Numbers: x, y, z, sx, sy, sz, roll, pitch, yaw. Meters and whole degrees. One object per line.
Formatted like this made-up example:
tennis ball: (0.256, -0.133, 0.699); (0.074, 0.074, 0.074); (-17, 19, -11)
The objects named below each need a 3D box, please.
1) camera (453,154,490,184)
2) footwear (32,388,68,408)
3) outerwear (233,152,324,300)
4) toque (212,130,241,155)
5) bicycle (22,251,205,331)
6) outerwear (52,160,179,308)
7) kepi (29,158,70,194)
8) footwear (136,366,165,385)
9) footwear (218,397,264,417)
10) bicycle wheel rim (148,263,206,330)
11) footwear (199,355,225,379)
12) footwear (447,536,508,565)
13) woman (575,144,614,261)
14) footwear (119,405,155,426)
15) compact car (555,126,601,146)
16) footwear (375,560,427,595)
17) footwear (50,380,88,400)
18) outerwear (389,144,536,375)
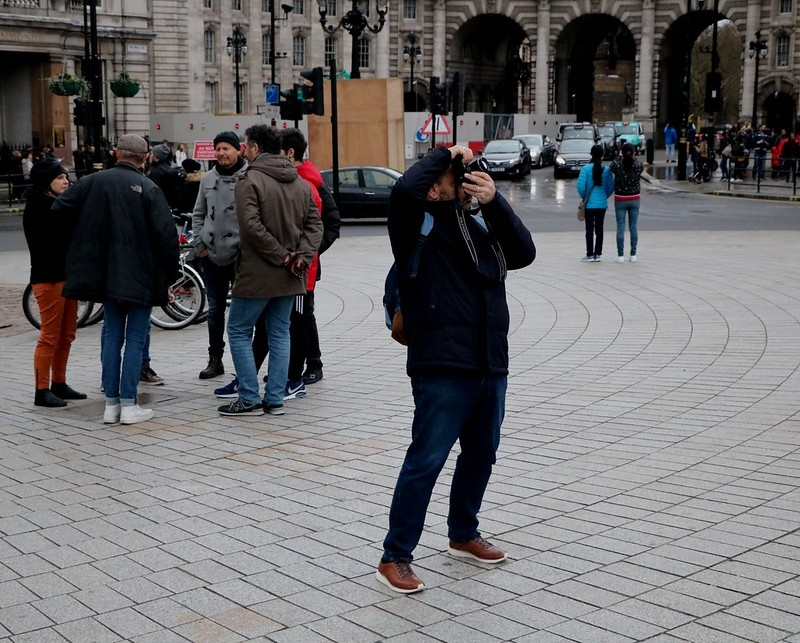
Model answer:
camera: (0.349, -0.733, 4.639); (0.145, 0.091, 0.135); (-9, -15, 18)
footwear: (-2.934, 0.659, 8.034); (0.334, 0.136, 0.116); (1, 5, 9)
outerwear: (-0.955, -0.749, 7.583); (0.747, 1.138, 0.312); (-9, 13, -36)
toque: (-1.497, -1.559, 8.289); (0.166, 0.159, 0.222); (1, 8, 19)
bicycle: (-3.534, -0.376, 11.950); (2.287, 1.349, 1.115); (2, 7, -1)
outerwear: (-2.238, -0.670, 7.544); (0.933, 1.124, 0.463); (-4, 11, -14)
kepi: (-3.063, -1.256, 8.299); (0.308, 0.277, 0.284); (-4, 18, -10)
footwear: (-2.302, 0.510, 8.839); (0.308, 0.129, 0.110); (8, 11, 42)
footwear: (-1.270, 0.703, 7.752); (0.391, 0.161, 0.140); (3, 0, -3)
bicycle wheel rim: (-2.365, -0.247, 10.162); (0.826, 0.884, 0.151); (0, 9, 5)
footwear: (-1.783, 0.459, 9.170); (0.125, 0.192, 0.318); (-1, -3, 23)
footwear: (0.402, 1.195, 4.999); (0.318, 0.133, 0.118); (3, 10, 14)
woman: (3.451, -2.097, 16.790); (0.598, 1.989, 1.477); (1, 11, 12)
footwear: (-2.084, 0.746, 7.574); (0.105, 0.119, 0.282); (6, 9, 27)
compact car: (8.445, -8.913, 44.841); (1.487, 1.169, 2.287); (0, 2, 6)
footwear: (0.006, 1.244, 4.663); (0.244, 0.107, 0.106); (8, 12, 41)
footwear: (-2.879, 0.592, 8.303); (0.369, 0.222, 0.121); (-3, 12, -21)
outerwear: (0.300, -0.286, 4.638); (0.661, 1.094, 0.348); (-2, 10, -4)
